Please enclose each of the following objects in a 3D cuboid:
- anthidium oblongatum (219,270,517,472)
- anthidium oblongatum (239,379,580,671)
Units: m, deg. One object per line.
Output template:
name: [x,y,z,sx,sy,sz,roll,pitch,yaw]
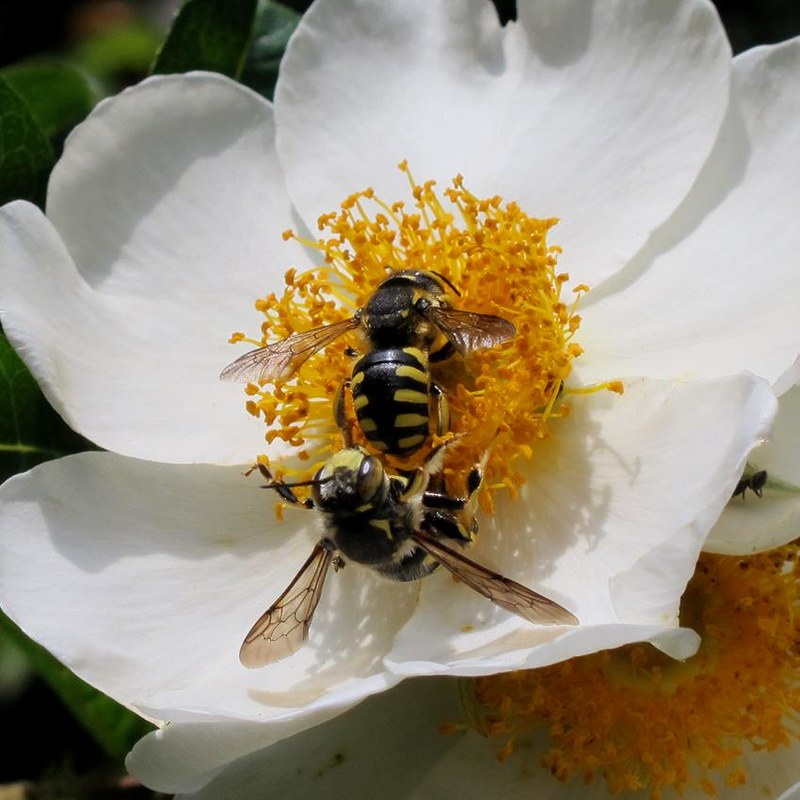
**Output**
anthidium oblongatum: [-0.021,-0.054,1.035,0.308,0.097,0.233,-5,37,24]
anthidium oblongatum: [-0.036,0.111,1.012,0.329,0.284,0.280,-13,80,1]
